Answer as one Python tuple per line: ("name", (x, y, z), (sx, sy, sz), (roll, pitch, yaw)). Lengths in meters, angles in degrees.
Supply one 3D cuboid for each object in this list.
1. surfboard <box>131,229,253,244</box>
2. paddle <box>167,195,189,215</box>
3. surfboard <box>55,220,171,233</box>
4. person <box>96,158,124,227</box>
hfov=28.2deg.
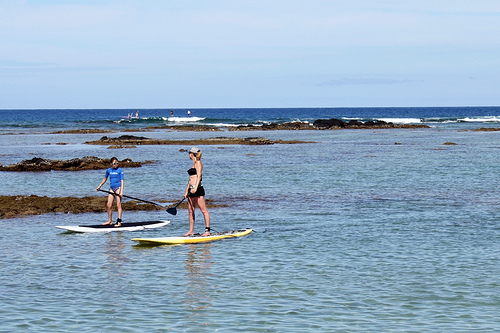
("surfboard", (-2.472, 3.069, 42.845), (5.061, 0.350, 0.852), (-5, 9, -17))
("paddle", (-3.517, 1.865, 47.709), (0.874, 0.258, 0.882), (-43, -2, -27))
("surfboard", (-6.055, 2.671, 44.499), (4.661, 0.434, 0.938), (-5, 9, -17))
("person", (-6.150, 1.110, 44.510), (1.546, 2.977, 1.222), (-2, -4, 37))
